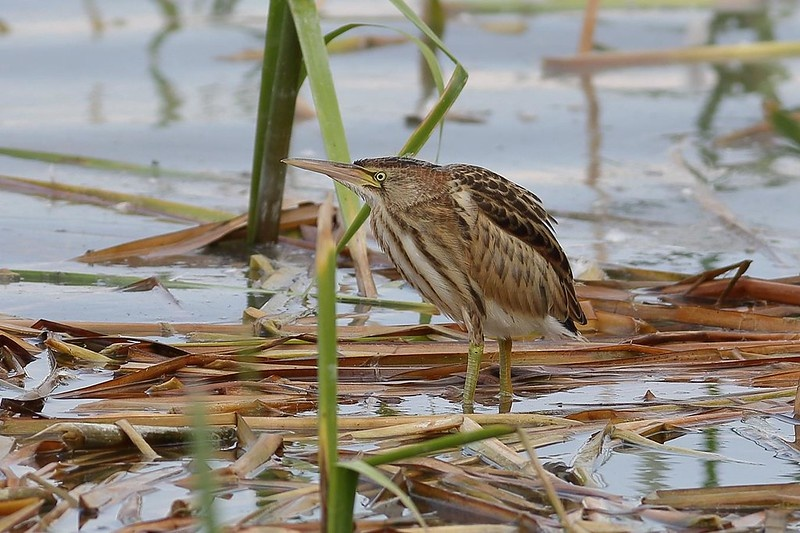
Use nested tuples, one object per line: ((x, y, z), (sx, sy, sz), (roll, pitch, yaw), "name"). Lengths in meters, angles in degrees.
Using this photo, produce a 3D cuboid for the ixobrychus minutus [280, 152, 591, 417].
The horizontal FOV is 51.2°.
((0.378, -0.076, 4.010), (0.853, 0.919, 0.925), (-23, 37, -39), "ixobrychus minutus")
